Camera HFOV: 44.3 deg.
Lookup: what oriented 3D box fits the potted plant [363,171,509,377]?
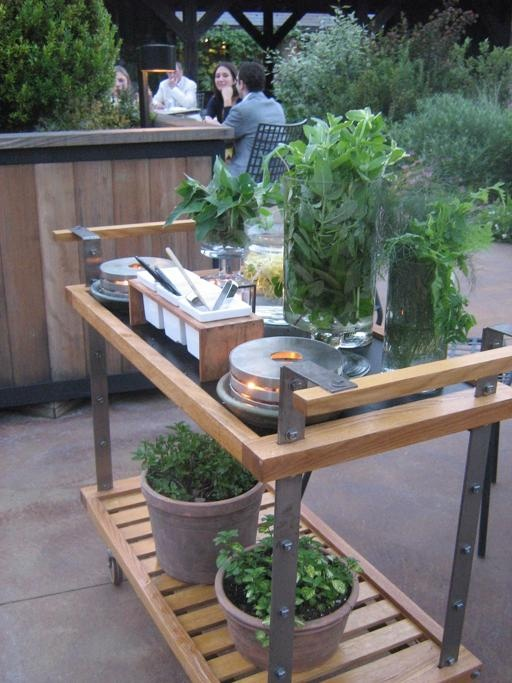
[{"bbox_3d":[0.288,-0.137,1.159,0.260,0.396,0.311,-1,20,-6],"label":"potted plant"}]

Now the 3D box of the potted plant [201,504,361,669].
[{"bbox_3d":[0.044,0.433,1.155,0.325,0.157,0.324,-1,14,-9],"label":"potted plant"}]

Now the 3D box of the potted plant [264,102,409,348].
[{"bbox_3d":[0.135,-0.175,1.019,0.216,0.378,0.222,-1,17,2],"label":"potted plant"}]

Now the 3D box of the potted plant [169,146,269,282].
[{"bbox_3d":[-0.084,-0.274,1.324,0.232,0.181,0.215,-12,28,-12],"label":"potted plant"}]

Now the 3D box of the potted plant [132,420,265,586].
[{"bbox_3d":[-0.144,0.371,1.425,0.328,0.240,0.340,-2,14,-10],"label":"potted plant"}]
